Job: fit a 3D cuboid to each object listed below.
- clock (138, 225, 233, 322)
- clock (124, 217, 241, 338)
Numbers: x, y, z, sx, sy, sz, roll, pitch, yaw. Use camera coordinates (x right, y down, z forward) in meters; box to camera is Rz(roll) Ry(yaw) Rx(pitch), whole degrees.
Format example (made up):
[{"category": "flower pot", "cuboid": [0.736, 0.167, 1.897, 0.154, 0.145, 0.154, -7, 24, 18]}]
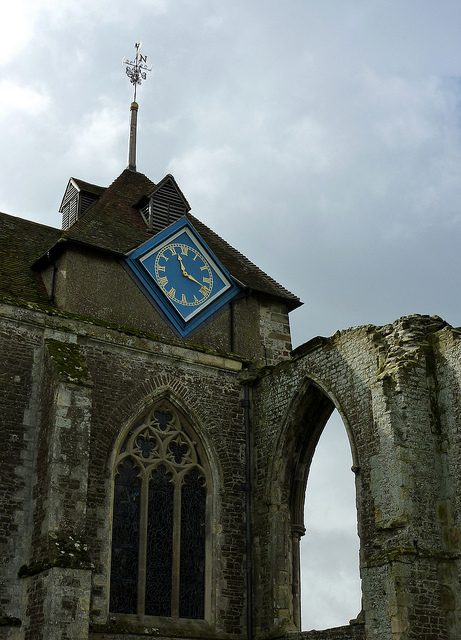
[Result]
[{"category": "clock", "cuboid": [-0.900, -0.925, 17.215, 1.484, 1.357, 0.087, 11, -13, -37]}, {"category": "clock", "cuboid": [-1.042, -0.718, 16.978, 2.191, 1.851, 0.154, 34, -41, -27]}]
